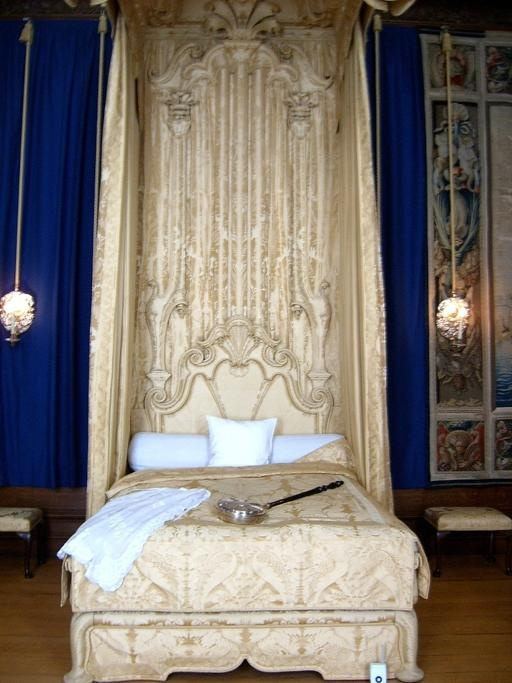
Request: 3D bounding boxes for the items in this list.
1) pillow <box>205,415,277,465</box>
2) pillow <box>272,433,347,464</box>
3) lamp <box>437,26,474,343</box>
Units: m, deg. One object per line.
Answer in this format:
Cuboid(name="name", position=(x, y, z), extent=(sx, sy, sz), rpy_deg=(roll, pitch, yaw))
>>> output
Cuboid(name="pillow", position=(-0.099, 0.576, 4.433), extent=(0.298, 0.272, 0.086), rpy_deg=(0, -31, 0))
Cuboid(name="pillow", position=(0.250, 0.609, 4.508), extent=(0.268, 0.054, 0.185), rpy_deg=(-3, 28, 4))
Cuboid(name="lamp", position=(1.239, -0.974, 4.937), extent=(0.245, 2.015, 0.303), rpy_deg=(-2, 5, -22))
